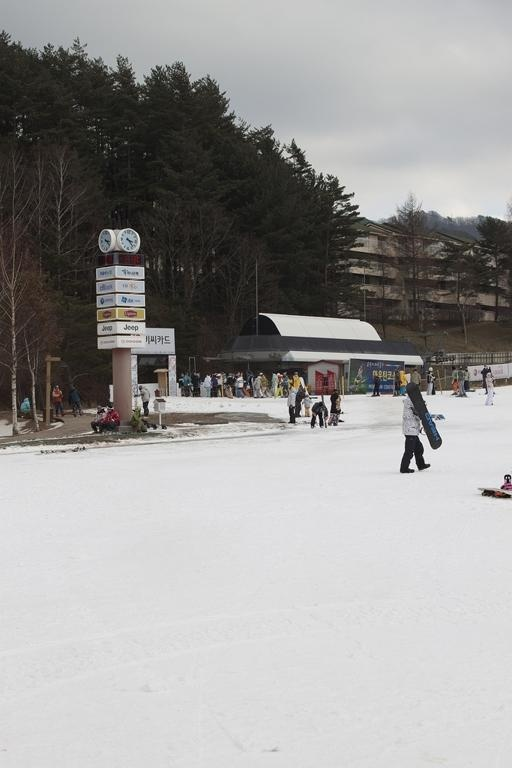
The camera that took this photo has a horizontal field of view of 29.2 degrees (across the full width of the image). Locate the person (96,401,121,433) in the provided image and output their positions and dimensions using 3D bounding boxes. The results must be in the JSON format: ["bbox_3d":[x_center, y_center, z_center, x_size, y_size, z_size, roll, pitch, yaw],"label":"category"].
[{"bbox_3d":[-4.826,1.190,32.370,0.751,0.792,1.909,-1,1,-8],"label":"person"}]

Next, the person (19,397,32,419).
[{"bbox_3d":[-10.724,1.184,45.777,0.548,1.137,0.643,-6,12,-31],"label":"person"}]

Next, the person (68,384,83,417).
[{"bbox_3d":[-8.007,0.810,43.829,0.457,1.258,1.915,-1,1,-9],"label":"person"}]

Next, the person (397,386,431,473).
[{"bbox_3d":[2.883,0.791,17.838,0.520,1.602,1.601,0,1,10],"label":"person"}]
